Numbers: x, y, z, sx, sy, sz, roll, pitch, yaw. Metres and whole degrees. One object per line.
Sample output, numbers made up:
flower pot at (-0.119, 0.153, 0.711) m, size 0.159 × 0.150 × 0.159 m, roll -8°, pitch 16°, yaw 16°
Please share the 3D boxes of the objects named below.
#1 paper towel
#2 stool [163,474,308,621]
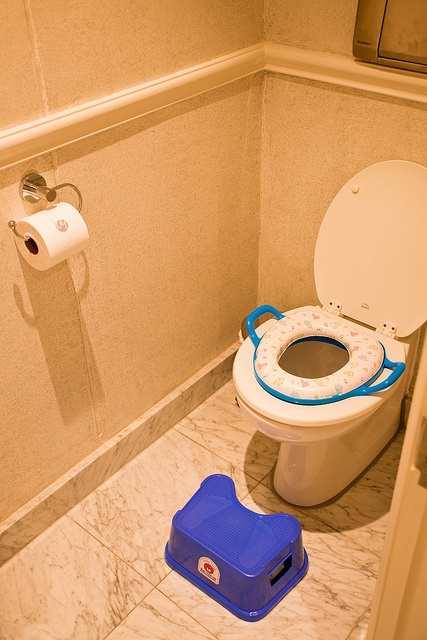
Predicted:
paper towel at (-0.301, -0.160, 0.936) m, size 0.085 × 0.095 × 0.109 m, roll 18°, pitch 39°, yaw 25°
stool at (0.049, 0.515, 1.182) m, size 0.323 × 0.133 × 0.245 m, roll 26°, pitch 40°, yaw 33°
